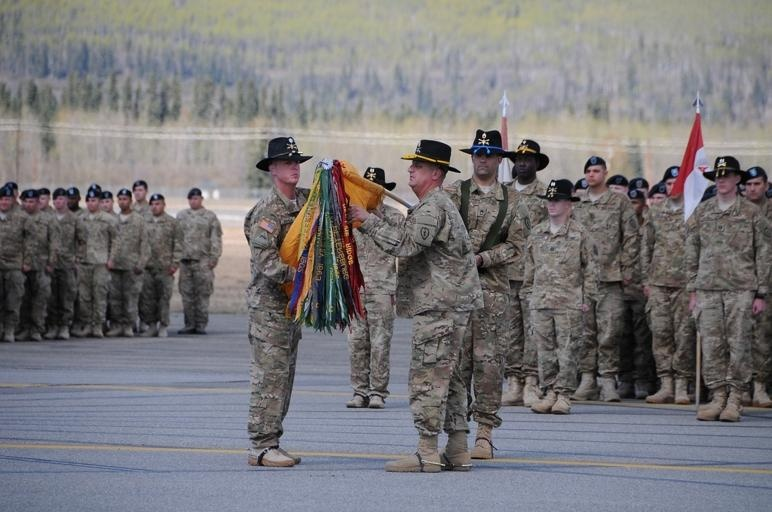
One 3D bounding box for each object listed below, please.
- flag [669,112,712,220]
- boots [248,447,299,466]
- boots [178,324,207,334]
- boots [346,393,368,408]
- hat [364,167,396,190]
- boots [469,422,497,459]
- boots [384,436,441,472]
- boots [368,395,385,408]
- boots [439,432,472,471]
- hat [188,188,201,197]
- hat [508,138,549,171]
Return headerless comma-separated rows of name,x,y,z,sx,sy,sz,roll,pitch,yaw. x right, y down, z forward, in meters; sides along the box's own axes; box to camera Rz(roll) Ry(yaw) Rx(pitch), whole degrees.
flag,5.413,-1.588,33.843,0.603,1.857,0.849,3,1,8
boots,-1.776,3.131,29.828,0.556,0.187,0.336,0,0,6
boots,-4.135,1.576,41.029,0.588,0.195,0.217,2,0,-5
boots,-0.464,2.521,32.909,0.403,0.229,0.181,2,0,-5
hat,-0.187,-1.414,33.493,0.499,0.205,0.568,18,-7,30
boots,1.543,2.927,30.440,0.381,0.582,0.909,5,2,7
boots,0.547,3.164,29.756,1.139,0.611,0.402,1,-4,-1
boots,-0.157,2.513,32.918,0.181,0.142,0.360,0,-11,-1
boots,1.020,3.095,30.066,0.704,0.616,0.323,-5,-11,35
hat,-4.095,-1.348,40.825,0.210,0.125,0.264,-5,6,-27
hat,2.619,-1.827,33.381,0.601,0.250,0.633,4,-16,26
